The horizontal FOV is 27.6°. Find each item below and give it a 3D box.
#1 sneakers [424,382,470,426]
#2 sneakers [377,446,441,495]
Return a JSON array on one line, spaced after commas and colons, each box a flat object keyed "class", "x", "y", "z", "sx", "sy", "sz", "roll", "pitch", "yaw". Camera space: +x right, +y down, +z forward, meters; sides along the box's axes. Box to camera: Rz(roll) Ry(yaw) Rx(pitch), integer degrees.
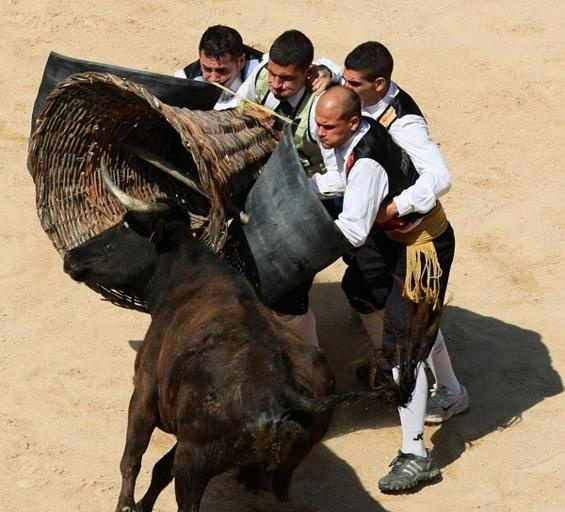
[{"class": "sneakers", "x": 1.215, "y": 1.091, "z": 8.709, "sx": 0.221, "sy": 0.219, "sz": 0.564, "roll": 16, "pitch": 18, "yaw": 38}, {"class": "sneakers", "x": 0.868, "y": 1.486, "z": 8.056, "sx": 0.535, "sy": 0.217, "sz": 0.197, "roll": -14, "pitch": 19, "yaw": -40}]
